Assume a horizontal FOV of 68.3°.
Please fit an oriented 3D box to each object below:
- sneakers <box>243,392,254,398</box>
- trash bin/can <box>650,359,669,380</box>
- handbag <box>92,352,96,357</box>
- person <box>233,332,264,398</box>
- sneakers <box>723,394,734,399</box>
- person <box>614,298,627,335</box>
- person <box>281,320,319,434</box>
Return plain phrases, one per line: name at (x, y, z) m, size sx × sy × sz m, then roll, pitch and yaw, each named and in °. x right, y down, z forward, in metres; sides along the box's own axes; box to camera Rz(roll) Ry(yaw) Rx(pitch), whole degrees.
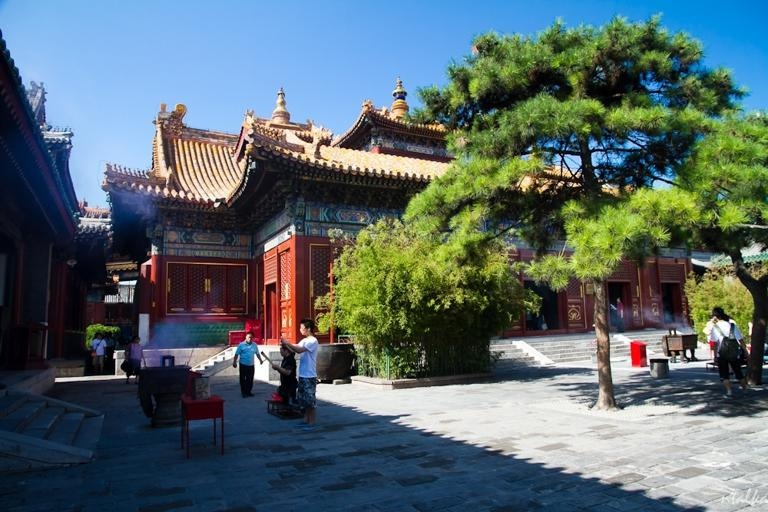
sneakers at (-3.220, 3.323, 13.511) m, size 0.215 × 0.104 × 0.375 m, roll -9°, pitch -11°, yaw 38°
trash bin/can at (7.319, 2.990, 15.164) m, size 0.468 × 0.451 × 0.253 m, roll -10°, pitch -11°, yaw 41°
handbag at (-10.636, 3.600, 20.742) m, size 0.072 × 0.185 × 1.359 m, roll 2°, pitch -10°, yaw -29°
person at (-3.324, 2.625, 13.735) m, size 0.600 × 1.554 × 2.159 m, roll 0°, pitch -9°, yaw -14°
sneakers at (7.143, 2.937, 11.779) m, size 0.093 × 0.097 × 0.222 m, roll -1°, pitch -16°, yaw -1°
person at (10.414, 2.588, 25.108) m, size 0.374 × 1.561 × 2.005 m, roll -6°, pitch -9°, yaw 22°
person at (-1.542, 2.182, 10.608) m, size 0.562 × 1.964 × 0.912 m, roll -1°, pitch -9°, yaw -10°
